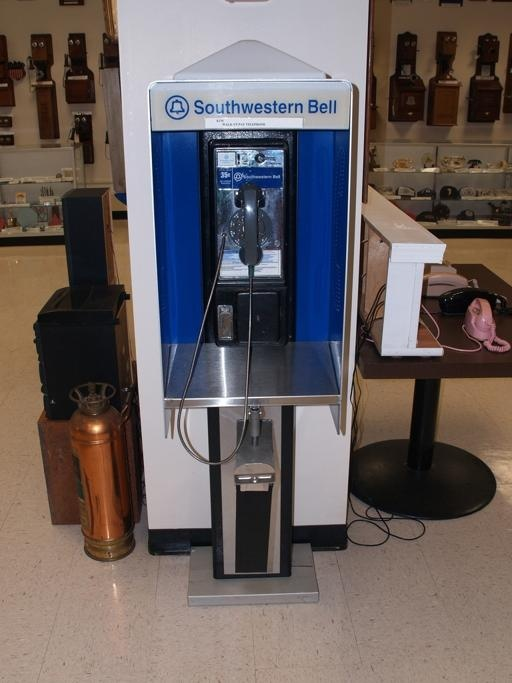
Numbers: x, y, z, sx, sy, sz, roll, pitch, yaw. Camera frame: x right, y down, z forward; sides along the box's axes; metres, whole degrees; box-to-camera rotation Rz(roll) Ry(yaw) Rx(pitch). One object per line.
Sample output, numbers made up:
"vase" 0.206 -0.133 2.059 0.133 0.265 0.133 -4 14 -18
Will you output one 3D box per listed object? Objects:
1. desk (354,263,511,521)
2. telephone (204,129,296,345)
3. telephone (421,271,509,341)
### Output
"desk" 0.754 0.246 2.501 0.512 0.707 0.982 0 20 5
"telephone" -0.017 -0.263 1.627 0.259 0.606 0.107 -3 21 -5
"telephone" 0.901 -0.153 2.508 0.229 0.100 0.273 -2 27 -3
